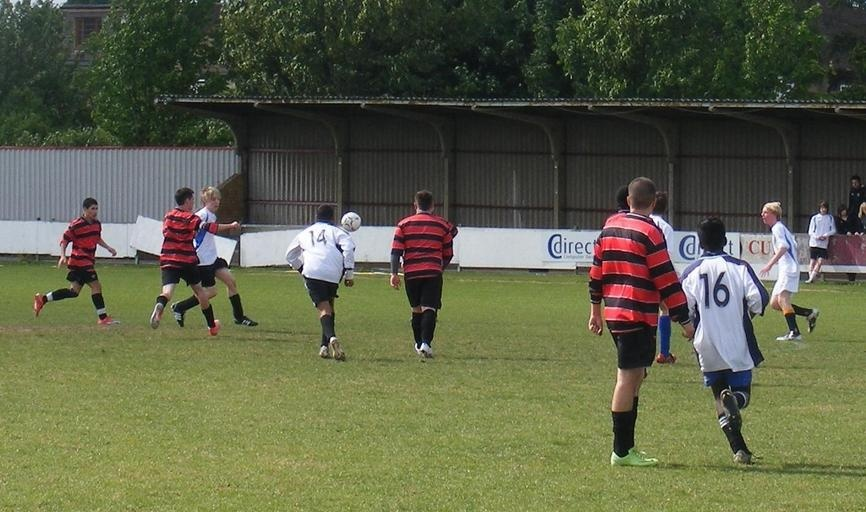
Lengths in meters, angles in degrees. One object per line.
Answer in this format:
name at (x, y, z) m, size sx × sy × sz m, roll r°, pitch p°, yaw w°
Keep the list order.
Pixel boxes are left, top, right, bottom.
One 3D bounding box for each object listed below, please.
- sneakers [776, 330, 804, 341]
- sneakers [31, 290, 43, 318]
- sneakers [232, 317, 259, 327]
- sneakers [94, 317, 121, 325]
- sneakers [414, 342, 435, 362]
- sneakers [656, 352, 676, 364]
sneakers at (8.399, 1.916, 31.860) m, size 0.675 × 0.272 × 0.220 m, roll 1°, pitch 3°, yaw 6°
sneakers at (-10.050, 1.273, 34.147) m, size 0.257 × 0.526 × 0.184 m, roll 7°, pitch 11°, yaw -1°
sneakers at (-4.541, 1.626, 32.704) m, size 0.617 × 0.238 × 0.214 m, roll 0°, pitch 5°, yaw 12°
sneakers at (-7.919, 1.622, 32.801) m, size 0.625 × 0.250 × 0.202 m, roll -4°, pitch 13°, yaw -9°
sneakers at (-0.224, 2.152, 30.027) m, size 0.212 × 0.272 × 0.570 m, roll -20°, pitch -50°, yaw 25°
sneakers at (5.165, 2.289, 29.870) m, size 0.460 × 0.206 × 0.232 m, roll -4°, pitch 7°, yaw -45°
